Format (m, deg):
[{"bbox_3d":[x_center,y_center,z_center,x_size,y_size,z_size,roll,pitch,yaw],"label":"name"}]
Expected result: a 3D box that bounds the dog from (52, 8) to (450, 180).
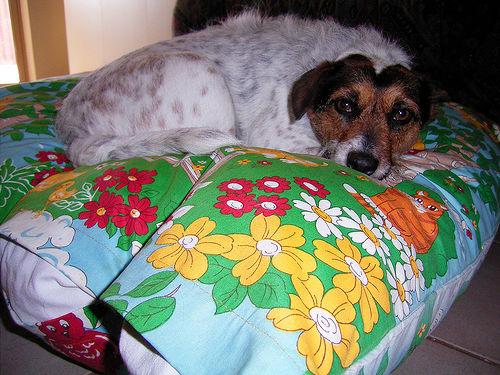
[{"bbox_3d":[0.024,-0.289,1.161,0.875,0.356,0.716,11,31,8],"label":"dog"}]
